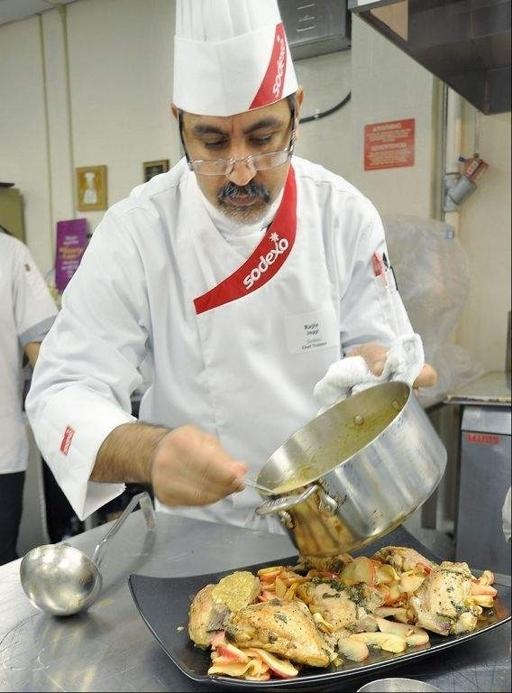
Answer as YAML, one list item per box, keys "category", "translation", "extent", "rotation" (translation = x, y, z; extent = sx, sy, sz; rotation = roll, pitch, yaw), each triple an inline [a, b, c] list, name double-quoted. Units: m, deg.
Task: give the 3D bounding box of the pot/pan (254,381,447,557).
- category: "pot/pan"
  translation: [0.122, 0.169, 0.875]
  extent: [0.277, 0.217, 0.284]
  rotation: [-7, 9, -11]

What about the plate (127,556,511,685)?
- category: "plate"
  translation: [0.044, 0.351, 0.763]
  extent: [0.267, 0.053, 0.194]
  rotation: [0, -1, -29]

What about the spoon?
- category: "spoon"
  translation: [-0.250, 0.371, 0.994]
  extent: [0.127, 0.110, 0.284]
  rotation: [-12, -24, 20]
